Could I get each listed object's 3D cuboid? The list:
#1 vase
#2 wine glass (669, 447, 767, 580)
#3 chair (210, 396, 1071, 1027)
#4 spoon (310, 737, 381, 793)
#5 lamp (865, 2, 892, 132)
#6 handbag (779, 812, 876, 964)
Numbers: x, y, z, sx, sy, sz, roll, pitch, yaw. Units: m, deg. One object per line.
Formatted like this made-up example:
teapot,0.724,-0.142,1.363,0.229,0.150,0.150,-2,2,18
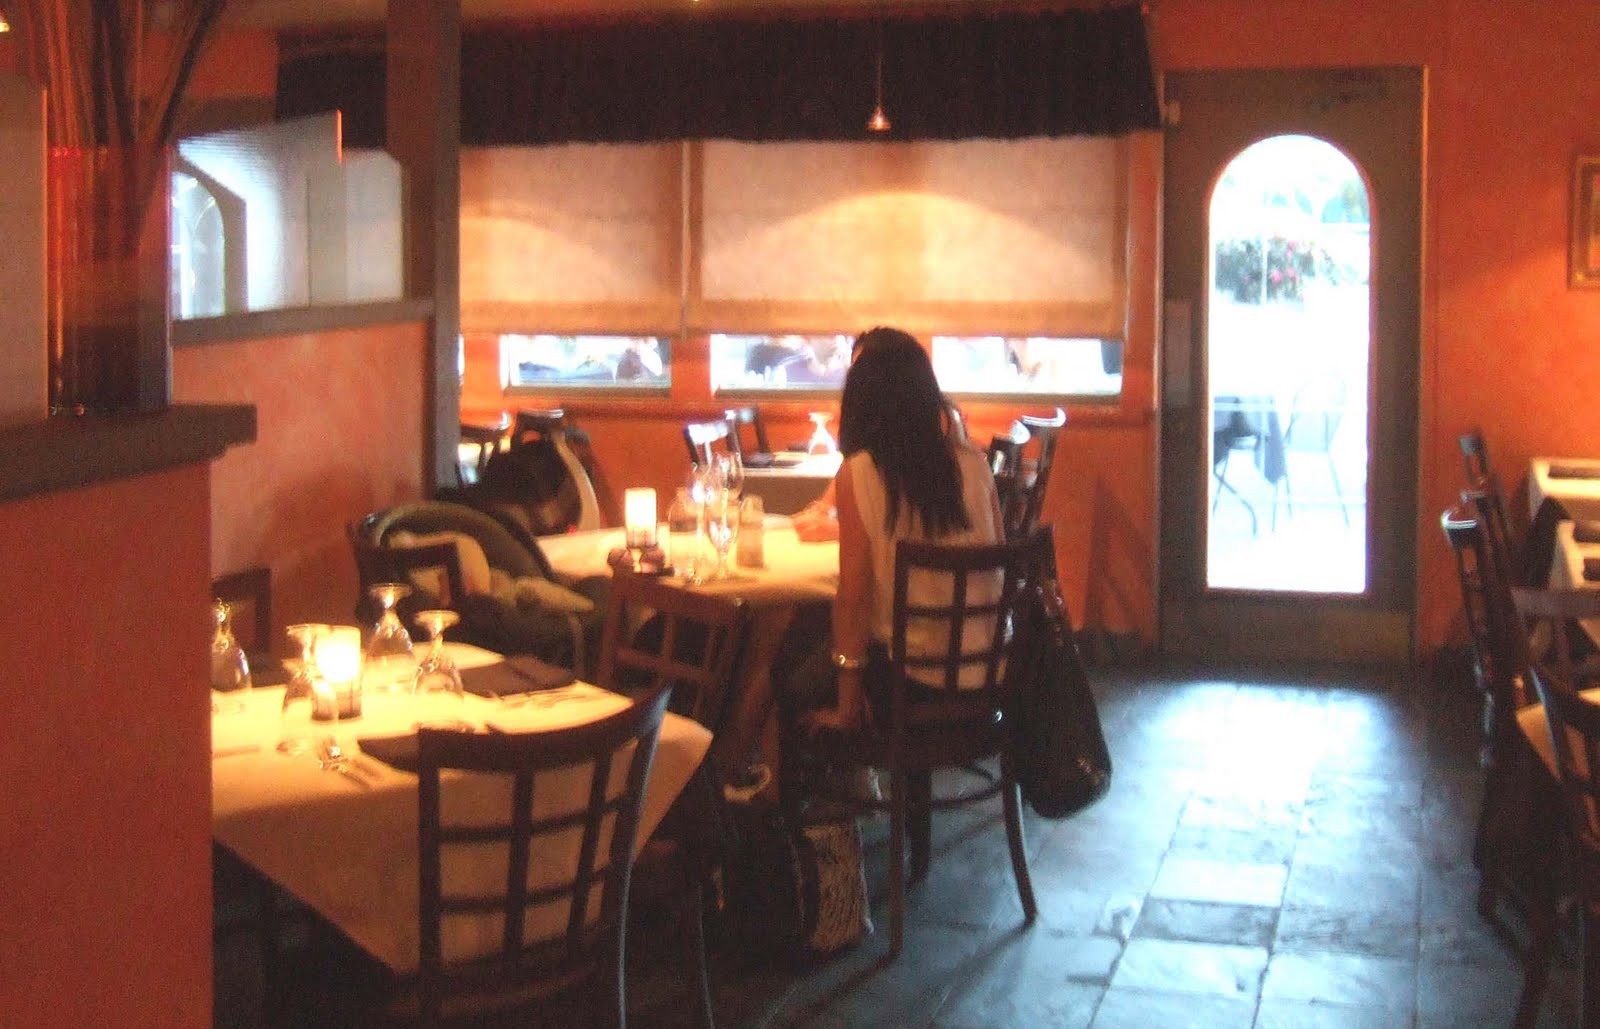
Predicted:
vase,-1.078,-0.367,2.183,0.189,0.401,0.136,-5,12,-23
wine glass,-0.268,-0.002,4.417,0.310,0.541,0.328,1,0,-17
chair,-0.398,0.547,3.634,0.836,1.004,1.498,6,9,42
spoon,-0.931,0.517,2.870,0.061,0.040,0.260,2,11,-23
lamp,0.360,-1.984,6.409,0.094,0.489,0.113,0,11,2
handbag,0.095,1.028,3.807,0.202,0.354,0.086,2,-12,-29
